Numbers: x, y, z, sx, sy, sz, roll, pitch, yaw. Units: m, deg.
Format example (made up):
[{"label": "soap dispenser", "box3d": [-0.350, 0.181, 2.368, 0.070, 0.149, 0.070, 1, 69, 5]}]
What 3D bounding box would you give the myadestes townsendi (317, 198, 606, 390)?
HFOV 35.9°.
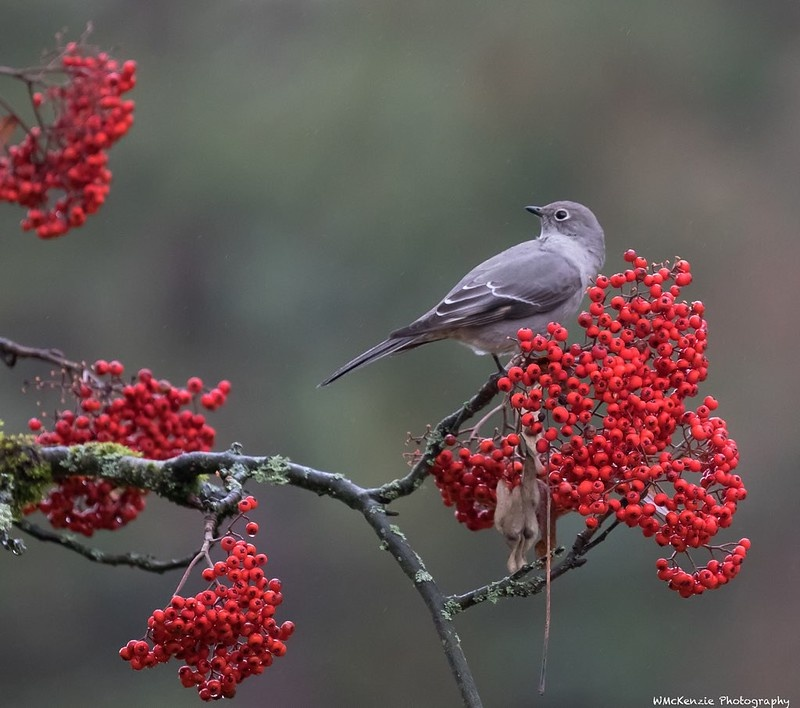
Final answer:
[{"label": "myadestes townsendi", "box3d": [0.221, -0.184, 3.934, 0.975, 0.596, 0.292, -8, -5, -14]}]
